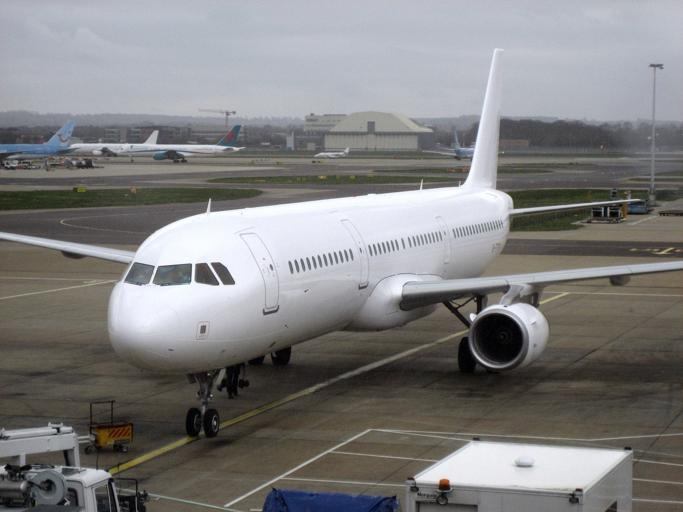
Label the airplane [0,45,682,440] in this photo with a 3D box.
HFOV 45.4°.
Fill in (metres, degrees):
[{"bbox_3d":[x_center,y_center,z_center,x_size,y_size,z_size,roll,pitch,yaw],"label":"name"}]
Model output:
[{"bbox_3d":[1.360,0.266,23.469,19.702,4.545,17.618,1,4,29],"label":"airplane"}]
